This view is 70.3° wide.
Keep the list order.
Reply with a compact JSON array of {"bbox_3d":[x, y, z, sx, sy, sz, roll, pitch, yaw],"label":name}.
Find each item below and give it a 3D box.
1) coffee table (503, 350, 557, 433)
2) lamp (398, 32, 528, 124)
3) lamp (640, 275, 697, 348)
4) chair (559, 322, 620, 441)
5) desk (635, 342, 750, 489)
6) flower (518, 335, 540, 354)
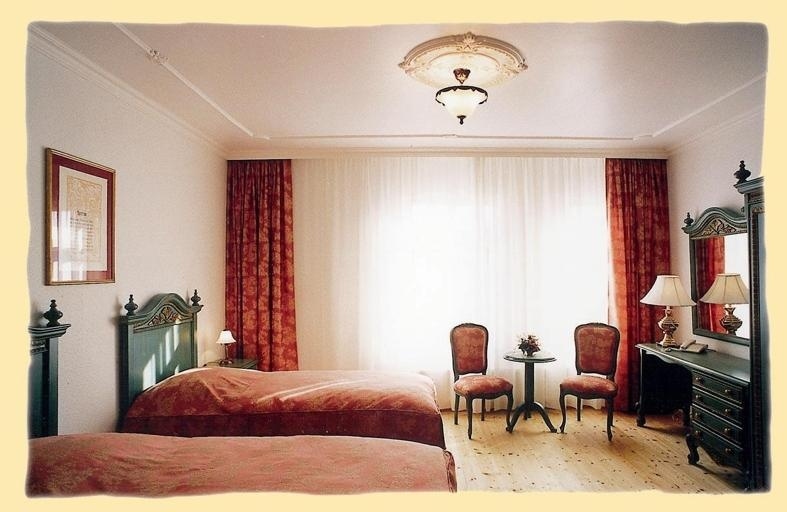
[{"bbox_3d":[1.510,1.506,6.290,0.749,0.850,0.642,-2,-12,16],"label":"coffee table"},{"bbox_3d":[0.590,-1.483,4.765,0.923,0.605,0.867,6,12,35],"label":"lamp"},{"bbox_3d":[3.023,0.629,6.198,0.531,0.698,0.527,-2,-5,42],"label":"lamp"},{"bbox_3d":[2.184,1.362,6.254,0.562,1.113,0.969,3,11,22],"label":"chair"},{"bbox_3d":[2.926,1.575,5.453,0.520,0.756,1.405,2,-4,2],"label":"desk"},{"bbox_3d":[1.476,1.002,6.193,0.222,0.101,0.217,14,41,25],"label":"flower"}]
